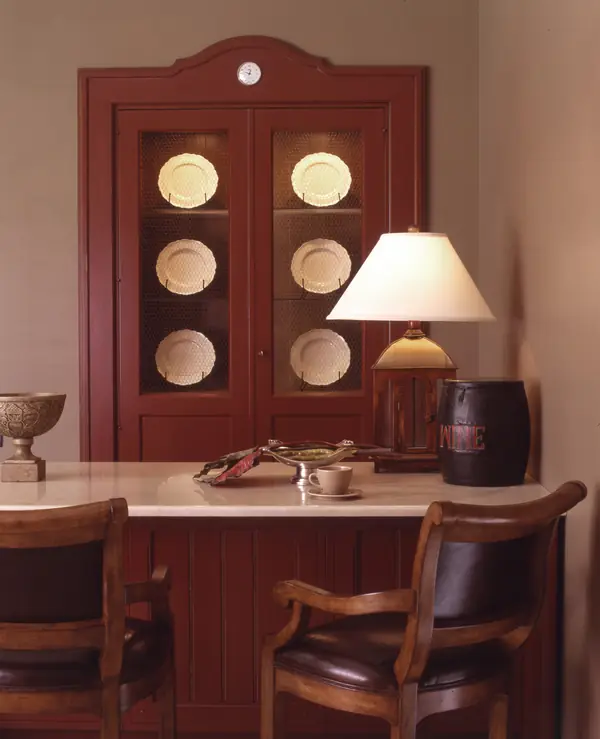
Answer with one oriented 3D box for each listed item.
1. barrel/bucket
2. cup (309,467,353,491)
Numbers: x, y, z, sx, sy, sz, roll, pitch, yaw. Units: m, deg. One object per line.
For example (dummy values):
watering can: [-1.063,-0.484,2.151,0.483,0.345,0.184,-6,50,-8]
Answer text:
barrel/bucket: [0.428,0.150,1.923,0.253,0.231,0.257,-1,-2,0]
cup: [0.070,0.243,1.681,0.097,0.050,0.071,0,-1,16]
